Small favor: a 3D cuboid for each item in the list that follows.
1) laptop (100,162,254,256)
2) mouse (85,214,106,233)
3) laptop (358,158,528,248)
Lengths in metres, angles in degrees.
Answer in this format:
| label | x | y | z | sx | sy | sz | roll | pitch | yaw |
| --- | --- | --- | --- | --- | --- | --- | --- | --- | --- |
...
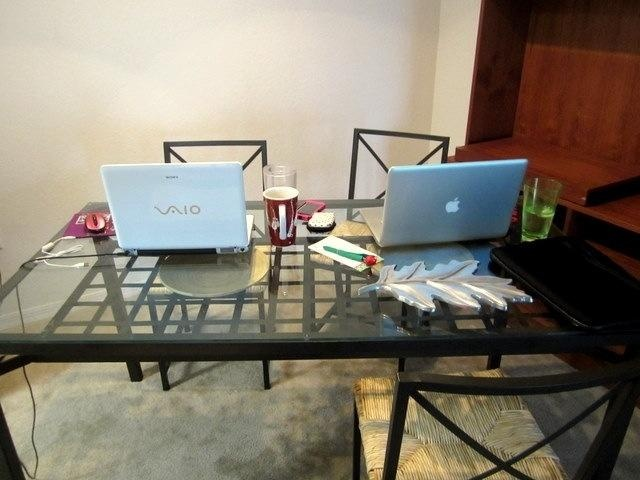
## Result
| label | x | y | z | sx | sy | sz | roll | pitch | yaw |
| --- | --- | --- | --- | --- | --- | --- | --- | --- | --- |
| laptop | -0.470 | -0.110 | 1.736 | 0.446 | 0.302 | 0.298 | 1 | 31 | -1 |
| mouse | -0.842 | -0.065 | 1.812 | 0.060 | 0.032 | 0.097 | -4 | 33 | -19 |
| laptop | 0.429 | -0.126 | 1.640 | 0.460 | 0.294 | 0.311 | -4 | 31 | -7 |
